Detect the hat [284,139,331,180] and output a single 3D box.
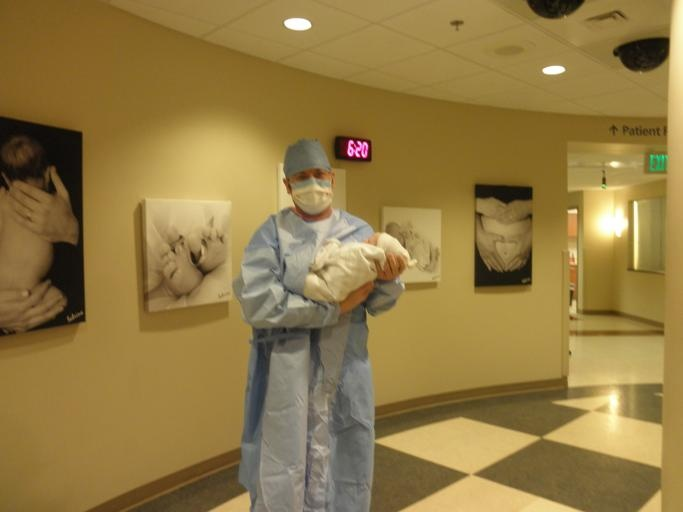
[{"bbox_3d":[-0.177,-0.507,2.891,0.220,0.211,0.251,4,5,-26],"label":"hat"}]
